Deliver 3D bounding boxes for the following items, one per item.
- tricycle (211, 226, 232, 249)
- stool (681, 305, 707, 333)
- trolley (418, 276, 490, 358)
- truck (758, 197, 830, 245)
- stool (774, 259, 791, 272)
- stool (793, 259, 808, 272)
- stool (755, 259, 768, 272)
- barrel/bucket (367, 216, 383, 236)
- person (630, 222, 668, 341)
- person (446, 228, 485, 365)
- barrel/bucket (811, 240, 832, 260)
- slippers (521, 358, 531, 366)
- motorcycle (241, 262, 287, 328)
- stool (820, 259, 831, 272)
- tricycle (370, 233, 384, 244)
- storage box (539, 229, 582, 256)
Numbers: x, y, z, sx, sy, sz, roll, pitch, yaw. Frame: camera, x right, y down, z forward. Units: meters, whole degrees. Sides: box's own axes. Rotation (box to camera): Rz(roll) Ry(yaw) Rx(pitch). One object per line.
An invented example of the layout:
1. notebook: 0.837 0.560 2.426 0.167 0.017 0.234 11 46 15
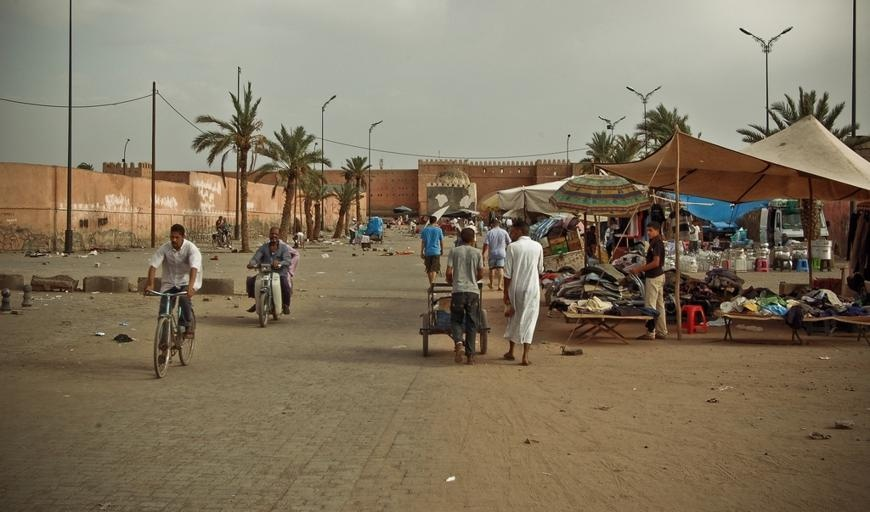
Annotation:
1. tricycle: -11.738 -1.067 44.582 0.821 1.126 1.363 1 -2 5
2. stool: 5.481 1.330 16.894 0.566 0.517 0.547 -1 -3 -9
3. trolley: 0.236 1.059 14.886 1.987 1.101 1.534 6 7 45
4. truck: 15.106 -1.464 34.093 1.328 1.879 5.378 1 -2 4
5. stool: 12.492 0.299 28.930 0.450 0.268 0.445 1 14 21
6. stool: 12.963 0.308 28.538 0.555 0.494 0.542 -2 5 7
7. stool: 11.539 0.320 28.400 0.420 0.455 0.409 -4 7 -10
8. barrel/bucket: -3.848 -1.837 51.293 0.790 1.267 1.792 1 -2 6
9. person: 4.244 0.472 16.005 0.789 2.125 0.678 0 0 2
10. person: 0.536 0.665 14.092 0.615 2.369 0.582 2 -2 -32
11. barrel/bucket: 13.710 -0.215 28.499 0.758 0.731 0.710 0 -1 0
12. slippers: 1.593 1.833 13.945 0.197 0.100 0.247 1 -2 3
13. motorcycle: -3.555 0.797 17.194 0.587 1.078 1.347 1 1 2
14. stool: 13.762 0.289 28.308 0.461 0.365 0.315 1 -2 5
15. tricycle: -3.723 -1.121 51.260 1.017 0.784 1.685 -1 0 -4
16. storage box: 3.663 -0.444 23.233 1.099 0.707 0.763 -6 -14 19
